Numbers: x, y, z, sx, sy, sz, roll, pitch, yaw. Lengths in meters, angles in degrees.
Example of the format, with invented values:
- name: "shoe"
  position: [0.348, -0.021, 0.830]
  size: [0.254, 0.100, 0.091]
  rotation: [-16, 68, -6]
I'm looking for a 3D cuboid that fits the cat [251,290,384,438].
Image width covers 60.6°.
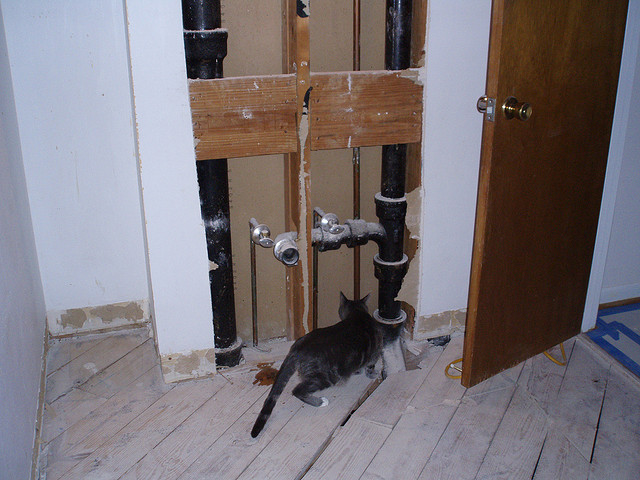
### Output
- name: "cat"
  position: [-0.008, 0.632, 2.712]
  size: [0.172, 0.338, 0.724]
  rotation: [17, 43, 40]

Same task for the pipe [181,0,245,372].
- name: "pipe"
  position: [-0.477, -0.212, 2.650]
  size: [0.171, 1.759, 0.353]
  rotation: [1, 21, 11]

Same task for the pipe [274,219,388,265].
- name: "pipe"
  position: [0.052, 0.003, 2.812]
  size: [0.627, 0.206, 0.155]
  rotation: [-15, 24, -23]

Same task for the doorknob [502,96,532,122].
- name: "doorknob"
  position: [0.806, -0.544, 2.271]
  size: [0.085, 0.124, 0.108]
  rotation: [-16, 20, -35]

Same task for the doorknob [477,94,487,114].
- name: "doorknob"
  position: [0.680, -0.570, 2.289]
  size: [0.014, 0.072, 0.065]
  rotation: [8, 1, 18]
